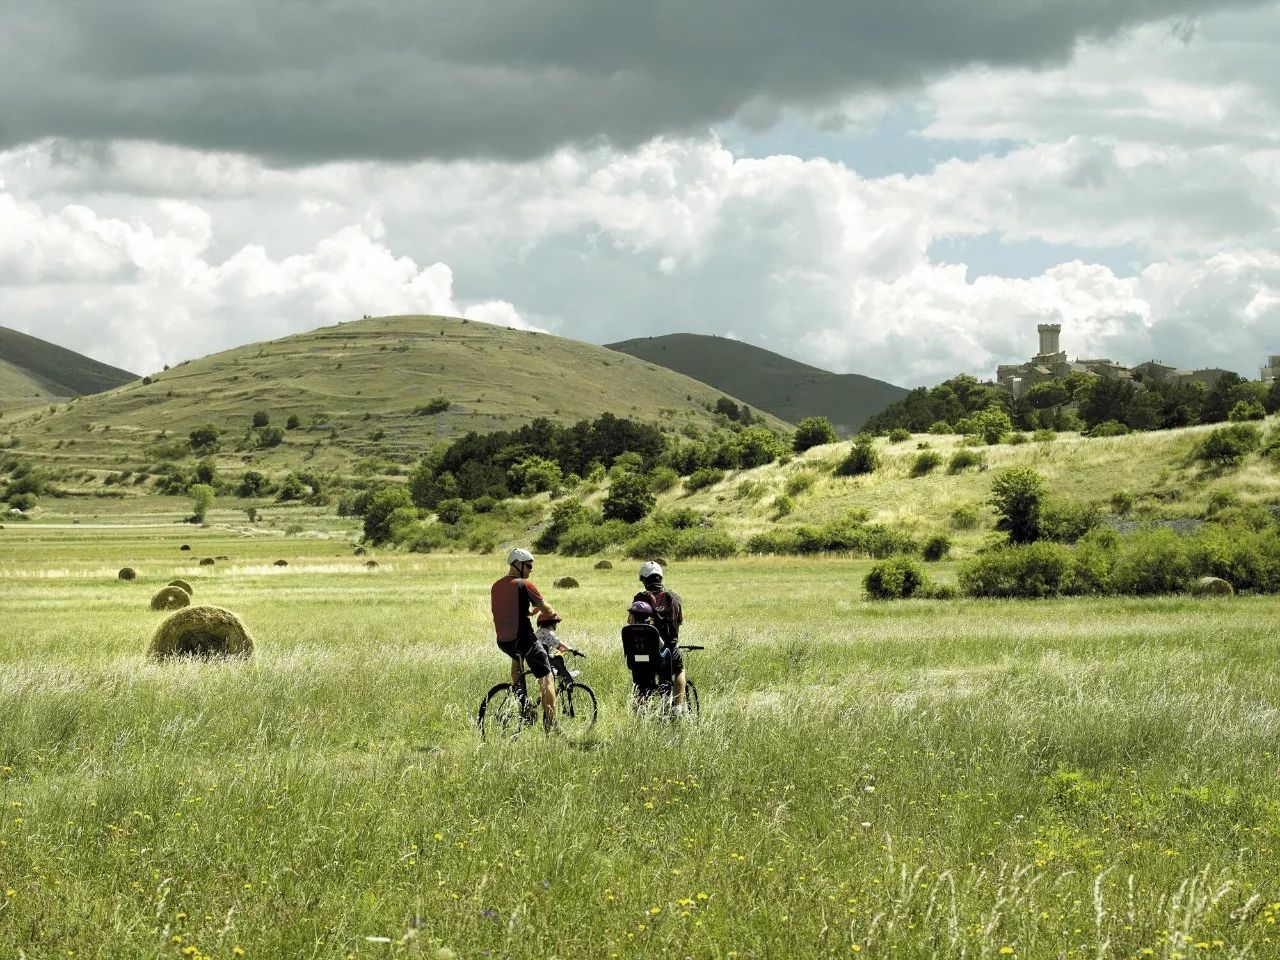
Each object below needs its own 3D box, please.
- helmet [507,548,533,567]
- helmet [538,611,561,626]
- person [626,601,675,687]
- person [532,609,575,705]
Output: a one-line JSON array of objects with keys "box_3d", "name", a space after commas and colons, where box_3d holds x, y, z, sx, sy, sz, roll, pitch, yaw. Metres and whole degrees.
[{"box_3d": [-2.445, 1.558, 32.361, 0.428, 0.418, 0.352, -3, 9, 0], "name": "helmet"}, {"box_3d": [-1.807, 2.820, 32.265, 0.378, 0.352, 0.599, -1, 4, -16], "name": "helmet"}, {"box_3d": [0.194, 3.373, 32.568, 1.007, 1.919, 0.645, -1, 4, -17], "name": "person"}, {"box_3d": [-1.697, 3.627, 32.889, 0.783, 1.866, 0.795, -5, 6, -38], "name": "person"}]
